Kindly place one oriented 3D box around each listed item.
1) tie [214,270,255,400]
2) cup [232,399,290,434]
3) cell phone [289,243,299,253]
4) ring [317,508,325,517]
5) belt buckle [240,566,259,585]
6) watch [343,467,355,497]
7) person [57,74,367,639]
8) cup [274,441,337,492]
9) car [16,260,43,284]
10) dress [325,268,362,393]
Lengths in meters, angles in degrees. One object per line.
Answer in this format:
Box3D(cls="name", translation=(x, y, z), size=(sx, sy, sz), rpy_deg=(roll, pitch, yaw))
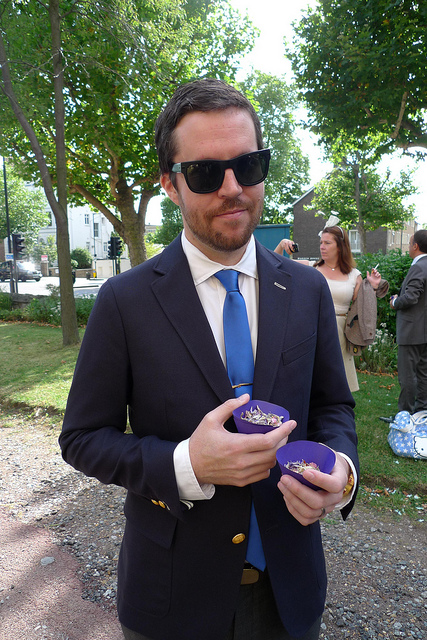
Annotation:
Box3D(cls="tie", translation=(0.075, 0.046, 1.413), size=(0.068, 0.377, 0.052), rpy_deg=(-3, -33, 0))
Box3D(cls="cup", translation=(0.121, 0.251, 1.223), size=(0.147, 0.079, 0.108), rpy_deg=(-1, 6, -5))
Box3D(cls="cell phone", translation=(1.017, -0.898, 6.120), size=(0.038, 0.134, 0.137), rpy_deg=(2, -4, -28))
Box3D(cls="ring", translation=(0.263, 0.477, 1.203), size=(0.018, 0.016, 0.018), rpy_deg=(-3, 4, 0))
Box3D(cls="belt buckle", translation=(0.098, 0.692, 1.311), size=(0.051, 0.046, 0.007), rpy_deg=(-3, 6, -18))
Box3D(cls="watch", translation=(0.373, 0.448, 1.350), size=(0.048, 0.065, 0.024), rpy_deg=(-5, -21, 25))
Box3D(cls="person", translation=(0.013, 0.110, 1.477), size=(0.824, 1.627, 0.657), rpy_deg=(1, 7, 22))
Box3D(cls="cup", translation=(0.230, 0.360, 1.218), size=(0.100, 0.095, 0.162), rpy_deg=(3, 7, 35))
Box3D(cls="car", translation=(-15.692, -4.033, 41.691), size=(1.629, 1.868, 3.950), rpy_deg=(-3, 6, -21))
Box3D(cls="dress", translation=(1.501, 0.227, 5.742), size=(0.382, 1.651, 1.691), rpy_deg=(1, 6, 16))
